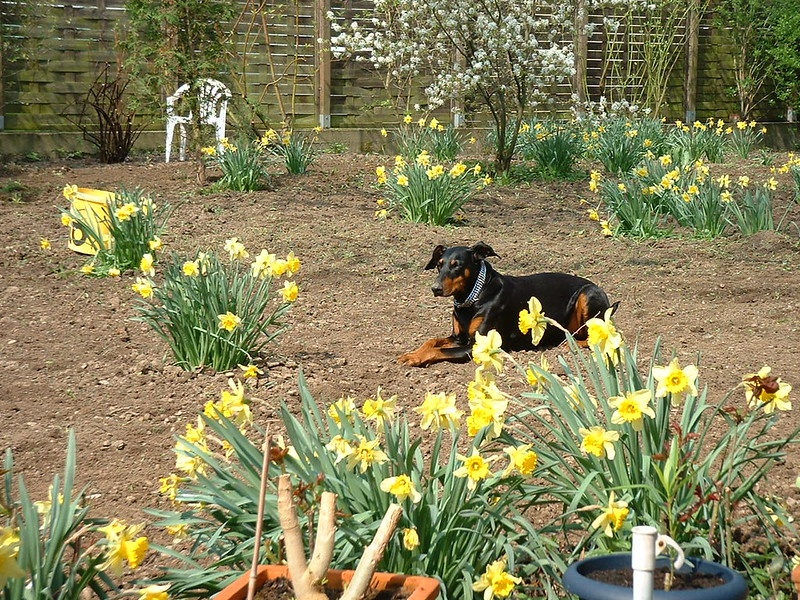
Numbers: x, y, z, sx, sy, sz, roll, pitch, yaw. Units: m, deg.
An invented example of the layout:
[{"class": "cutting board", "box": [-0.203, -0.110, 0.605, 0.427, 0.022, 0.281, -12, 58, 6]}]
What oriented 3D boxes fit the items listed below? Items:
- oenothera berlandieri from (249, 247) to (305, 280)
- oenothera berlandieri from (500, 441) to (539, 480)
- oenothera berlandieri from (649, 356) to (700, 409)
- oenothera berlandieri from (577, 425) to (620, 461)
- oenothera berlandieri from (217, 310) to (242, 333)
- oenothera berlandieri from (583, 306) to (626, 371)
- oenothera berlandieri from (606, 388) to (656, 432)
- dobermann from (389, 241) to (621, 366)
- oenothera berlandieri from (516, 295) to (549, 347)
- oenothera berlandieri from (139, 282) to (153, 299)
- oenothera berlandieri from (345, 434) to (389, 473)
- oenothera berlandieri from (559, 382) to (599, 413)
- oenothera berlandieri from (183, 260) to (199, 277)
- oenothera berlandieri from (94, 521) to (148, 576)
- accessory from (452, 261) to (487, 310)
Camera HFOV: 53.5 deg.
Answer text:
[{"class": "oenothera berlandieri", "box": [-0.591, -0.179, 4.085, 0.250, 0.152, 0.310, -5, 2, -44]}, {"class": "oenothera berlandieri", "box": [0.351, 0.494, 2.469, 0.133, 0.069, 0.129, 1, -8, -38]}, {"class": "oenothera berlandieri", "box": [0.838, 0.254, 2.444, 0.129, 0.185, 0.289, 2, 10, 19]}, {"class": "oenothera berlandieri", "box": [0.608, 0.444, 2.467, 0.137, 0.057, 0.132, 5, 47, 11]}, {"class": "oenothera berlandieri", "box": [-0.835, 0.107, 3.889, 0.125, 0.057, 0.132, 29, 21, -3]}, {"class": "oenothera berlandieri", "box": [0.663, 0.122, 2.547, 0.153, 0.206, 0.169, 1, 8, 16]}, {"class": "oenothera berlandieri", "box": [0.692, 0.325, 2.385, 0.135, 0.124, 0.049, -38, 1, 25]}, {"class": "dobermann", "box": [0.699, 0.014, 4.766, 1.521, 0.641, 0.517, -3, 6, -27]}, {"class": "oenothera berlandieri", "box": [0.593, 0.090, 3.666, 0.174, 0.219, 0.226, 4, 29, 3]}, {"class": "oenothera berlandieri", "box": [-1.359, -0.058, 4.262, 0.079, 0.083, 0.169, -4, 9, -17]}, {"class": "oenothera berlandieri", "box": [-0.097, 0.461, 2.365, 0.114, 0.107, 0.074, 1, 10, 15]}, {"class": "oenothera berlandieri", "box": [0.596, 0.328, 2.695, 0.040, 0.098, 0.101, -29, -16, 11]}, {"class": "oenothera berlandieri", "box": [-1.083, -0.173, 4.179, 0.092, 0.090, 0.041, -30, -29, 27]}, {"class": "oenothera berlandieri", "box": [-0.798, 0.726, 2.289, 0.125, 0.198, 0.239, -5, 10, -22]}, {"class": "accessory", "box": [0.388, -0.075, 4.570, 0.060, 0.226, 0.195, 16, 18, 40]}]
